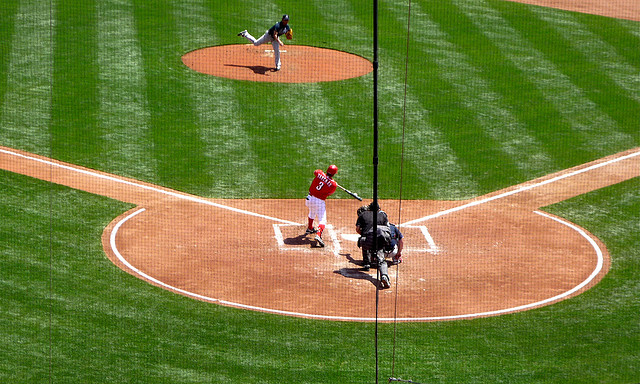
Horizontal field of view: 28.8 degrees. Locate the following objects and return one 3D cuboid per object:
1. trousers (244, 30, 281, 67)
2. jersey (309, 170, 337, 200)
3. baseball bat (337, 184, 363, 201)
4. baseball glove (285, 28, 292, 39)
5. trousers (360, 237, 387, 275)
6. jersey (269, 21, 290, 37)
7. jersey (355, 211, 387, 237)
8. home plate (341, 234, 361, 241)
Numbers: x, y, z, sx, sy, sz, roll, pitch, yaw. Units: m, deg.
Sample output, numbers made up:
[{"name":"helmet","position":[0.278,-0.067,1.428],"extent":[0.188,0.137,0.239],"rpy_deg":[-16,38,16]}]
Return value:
[{"name":"trousers","position":[-2.141,-5.677,48.010],"extent":[1.409,1.590,0.634],"rpy_deg":[20,39,30]},{"name":"jersey","position":[0.075,-0.258,41.459],"extent":[0.915,0.757,0.458],"rpy_deg":[33,10,-4]},{"name":"baseball bat","position":[1.012,-0.025,43.166],"extent":[0.999,0.102,0.151],"rpy_deg":[28,-13,-3]},{"name":"baseball glove","position":[-1.191,-6.015,47.049],"extent":[0.305,0.293,0.147],"rpy_deg":[-3,10,-10]},{"name":"trousers","position":[1.717,2.019,39.470],"extent":[0.640,1.077,1.261],"rpy_deg":[-10,32,-15]},{"name":"jersey","position":[-1.578,-6.233,47.085],"extent":[0.734,0.612,0.292],"rpy_deg":[-2,33,-4]},{"name":"jersey","position":[1.667,1.056,39.997],"extent":[1.255,0.913,0.623],"rpy_deg":[2,-11,-1]},{"name":"home plate","position":[0.946,1.462,41.342],"extent":[0.584,0.086,0.358],"rpy_deg":[3,28,5]}]
